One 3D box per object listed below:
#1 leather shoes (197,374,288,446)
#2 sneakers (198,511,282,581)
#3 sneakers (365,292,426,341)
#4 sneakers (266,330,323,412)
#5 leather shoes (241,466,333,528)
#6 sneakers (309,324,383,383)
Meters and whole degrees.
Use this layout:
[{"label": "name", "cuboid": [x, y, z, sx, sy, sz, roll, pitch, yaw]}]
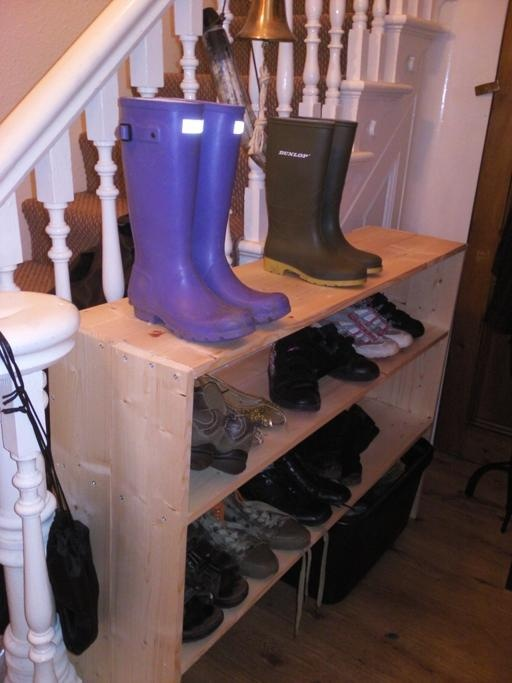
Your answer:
[{"label": "leather shoes", "cuboid": [-0.037, 0.140, 0.959, 0.160, 0.058, 0.100, 23, 43, 12]}, {"label": "sneakers", "cuboid": [-0.051, 0.394, 1.129, 0.212, 0.067, 0.078, 22, 30, 38]}, {"label": "sneakers", "cuboid": [0.376, -0.065, 1.478, 0.145, 0.058, 0.049, 37, 36, 7]}, {"label": "sneakers", "cuboid": [0.081, 0.063, 1.141, 0.067, 0.095, 0.205, 1, 23, -8]}, {"label": "leather shoes", "cuboid": [0.071, 0.348, 1.282, 0.246, 0.106, 0.082, 21, 51, 23]}, {"label": "sneakers", "cuboid": [0.188, 0.029, 1.292, 0.071, 0.093, 0.210, -24, 42, -26]}]
